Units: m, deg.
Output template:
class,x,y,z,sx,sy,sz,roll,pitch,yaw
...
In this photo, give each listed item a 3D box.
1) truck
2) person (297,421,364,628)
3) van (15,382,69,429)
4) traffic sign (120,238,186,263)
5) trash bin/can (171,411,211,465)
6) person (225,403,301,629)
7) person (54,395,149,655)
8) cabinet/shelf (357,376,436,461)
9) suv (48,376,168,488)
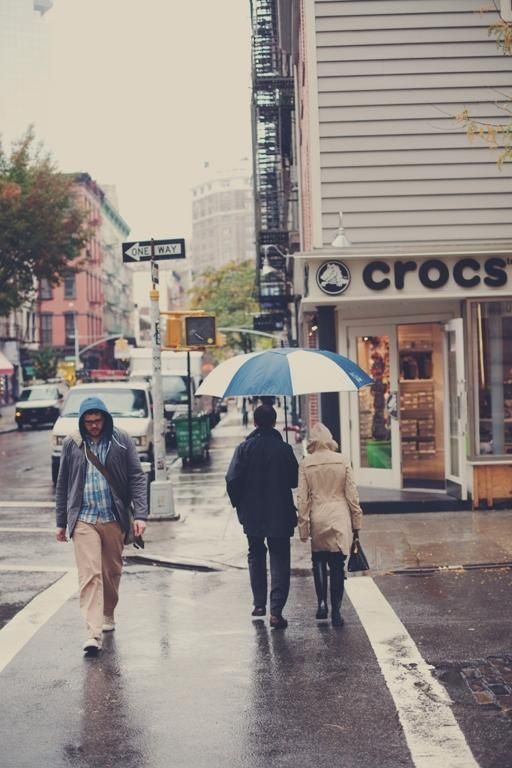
class,x,y,z,sx,sy,sz,roll,pitch,yaw
truck,-2.276,0.078,29.968,1.489,1.852,3.096,-1,1,2
person,0.525,1.016,8.563,0.437,1.408,0.490,-1,3,21
van,-6.702,0.677,36.630,1.126,1.283,2.536,-2,-4,-1
traffic sign,-1.265,-1.641,14.457,0.754,0.262,1.171,-3,3,-7
trash bin/can,-1.243,0.993,22.486,0.467,0.766,1.086,0,5,6
person,0.060,0.961,8.601,0.520,1.557,0.561,-1,3,29
person,-1.024,0.928,8.009,0.615,1.678,0.589,-3,3,-23
cabinet/shelf,1.861,0.463,15.443,0.926,1.042,0.243,3,6,11
suv,-2.289,0.738,18.475,1.289,1.606,2.616,-1,-3,5
